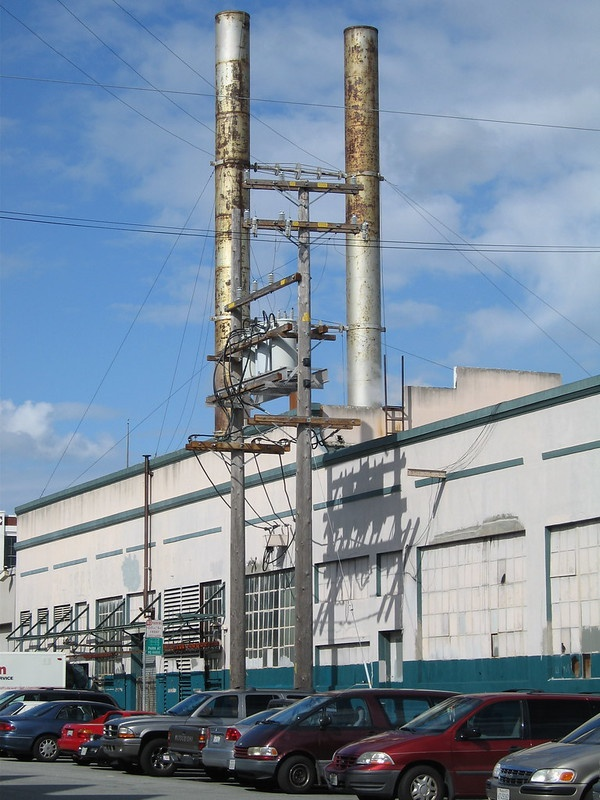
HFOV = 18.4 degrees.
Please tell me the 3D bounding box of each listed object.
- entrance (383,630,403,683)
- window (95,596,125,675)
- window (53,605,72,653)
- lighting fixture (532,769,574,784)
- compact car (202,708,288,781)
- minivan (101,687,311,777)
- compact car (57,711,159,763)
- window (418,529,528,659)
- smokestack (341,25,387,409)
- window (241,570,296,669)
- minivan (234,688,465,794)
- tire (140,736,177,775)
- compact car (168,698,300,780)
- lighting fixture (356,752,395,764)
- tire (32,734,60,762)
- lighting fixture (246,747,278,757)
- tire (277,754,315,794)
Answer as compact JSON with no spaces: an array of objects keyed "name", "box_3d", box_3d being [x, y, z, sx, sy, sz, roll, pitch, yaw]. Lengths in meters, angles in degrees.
[{"name":"entrance","box_3d":[2.013,5.724,41.200,0.258,1.155,0.705,1,-12,-14]},{"name":"window","box_3d":[-5.844,7.358,57.287,0.056,2.218,2.187,6,-12,-24]},{"name":"window","box_3d":[-7.856,7.661,61.626,0.139,1.447,1.183,6,-14,-25]},{"name":"lighting fixture","box_3d":[3.358,5.032,24.830,0.641,0.193,0.101,-10,-14,31]},{"name":"compact car","box_3d":[-0.763,5.901,32.373,1.758,0.936,0.880,2,-8,-27]},{"name":"minivan","box_3d":[-1.591,6.068,34.003,3.478,1.460,1.680,4,-10,-21]},{"name":"compact car","box_3d":[-3.705,6.920,37.685,2.265,0.839,1.079,-5,0,-27]},{"name":"window","box_3d":[3.579,4.182,38.230,0.152,2.533,3.310,10,-15,-37]},{"name":"smokestack","box_3d":[1.726,-5.223,52.646,1.096,11.234,1.141,-2,-11,1]},{"name":"window","box_3d":[-0.788,5.536,46.689,0.076,2.380,2.223,10,-14,-39]},{"name":"minivan","box_3d":[0.528,5.456,30.495,3.182,1.476,1.731,0,-6,-6]},{"name":"tire","box_3d":[-2.596,6.497,33.968,0.706,0.857,0.283,1,-10,-8]},{"name":"compact car","box_3d":[-1.456,6.113,32.904,1.178,1.068,2.388,-2,-1,19]},{"name":"lighting fixture","box_3d":[1.095,5.309,27.457,0.555,0.197,0.114,-8,-13,23]},{"name":"tire","box_3d":[-5.188,7.062,37.817,0.525,0.572,0.175,3,-6,-32]},{"name":"lighting fixture","box_3d":[-0.639,5.724,30.200,0.575,0.167,0.122,-12,-15,37]},{"name":"tire","box_3d":[-0.083,6.036,30.112,0.575,0.640,0.215,1,4,-7]}]
